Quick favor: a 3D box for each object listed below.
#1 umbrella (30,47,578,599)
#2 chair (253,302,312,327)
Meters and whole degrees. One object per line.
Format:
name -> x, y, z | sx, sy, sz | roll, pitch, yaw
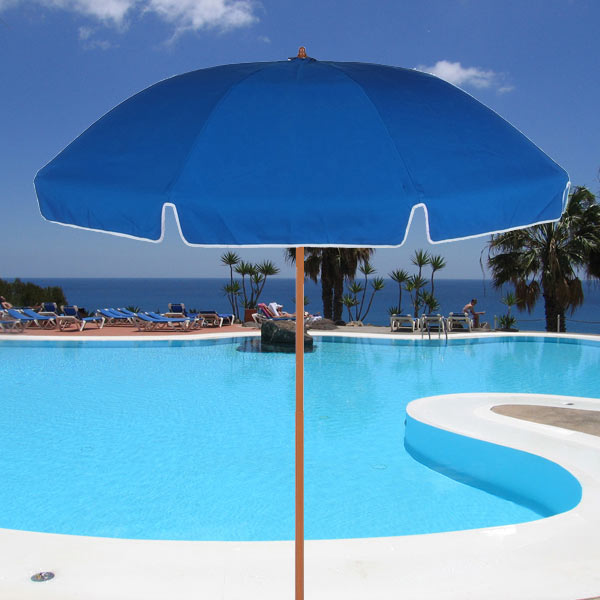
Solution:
umbrella -> 0.037, 0.086, 3.450 | 1.548, 2.350, 1.759 | 0, 2, -4
chair -> -0.850, 0.471, 20.533 | 1.195, 0.767, 1.037 | 0, 4, 6
